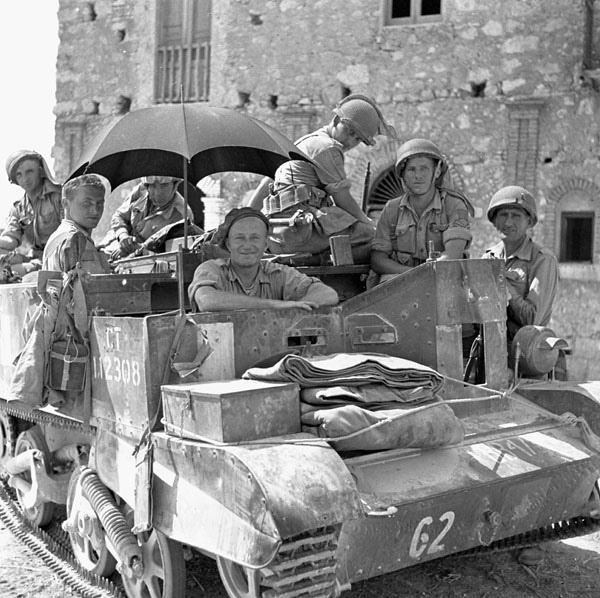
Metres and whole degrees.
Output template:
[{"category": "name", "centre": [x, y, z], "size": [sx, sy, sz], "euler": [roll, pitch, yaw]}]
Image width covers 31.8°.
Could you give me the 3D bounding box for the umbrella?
[{"category": "umbrella", "centre": [-0.771, -1.127, 7.211], "size": [1.042, 1.084, 1.298], "euler": [0, 7, 12]}]

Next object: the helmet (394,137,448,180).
[{"category": "helmet", "centre": [0.892, -1.029, 7.717], "size": [0.370, 0.293, 0.355], "euler": [2, 4, 6]}]

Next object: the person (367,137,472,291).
[{"category": "person", "centre": [0.896, -0.607, 7.714], "size": [0.595, 1.199, 0.682], "euler": [9, 18, 33]}]

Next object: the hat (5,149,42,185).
[{"category": "hat", "centre": [-2.436, -1.137, 9.139], "size": [0.350, 0.280, 0.261], "euler": [4, 5, 33]}]
